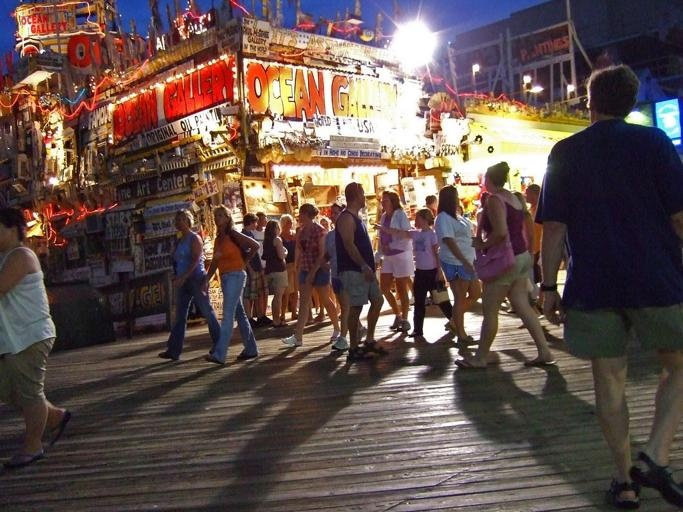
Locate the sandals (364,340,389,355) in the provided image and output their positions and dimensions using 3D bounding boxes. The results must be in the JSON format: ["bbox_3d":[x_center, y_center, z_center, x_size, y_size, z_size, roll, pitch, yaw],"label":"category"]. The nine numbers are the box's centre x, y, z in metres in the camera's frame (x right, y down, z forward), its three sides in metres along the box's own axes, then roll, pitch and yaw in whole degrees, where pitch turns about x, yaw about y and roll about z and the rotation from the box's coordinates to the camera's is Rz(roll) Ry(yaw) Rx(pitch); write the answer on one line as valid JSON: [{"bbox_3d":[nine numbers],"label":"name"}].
[{"bbox_3d":[0.437,1.213,7.529,0.378,0.193,0.139,2,3,-8],"label":"sandals"}]

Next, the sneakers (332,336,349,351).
[{"bbox_3d":[0.001,1.276,8.223,0.115,0.147,0.294,-1,-10,14],"label":"sneakers"}]

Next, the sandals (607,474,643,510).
[{"bbox_3d":[1.672,1.394,3.371,0.097,0.121,0.245,-4,-3,15],"label":"sandals"}]

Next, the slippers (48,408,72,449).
[{"bbox_3d":[-2.512,1.543,5.033,0.092,0.397,0.152,16,17,-13],"label":"slippers"}]

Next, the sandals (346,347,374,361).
[{"bbox_3d":[0.253,1.249,7.379,0.282,0.144,0.157,-3,1,-4],"label":"sandals"}]

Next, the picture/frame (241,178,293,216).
[{"bbox_3d":[-1.822,-1.434,14.364,1.246,1.043,0.141,-4,21,-20],"label":"picture/frame"}]

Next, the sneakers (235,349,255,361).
[{"bbox_3d":[-1.363,1.422,8.141,0.255,0.128,0.121,3,-4,6],"label":"sneakers"}]

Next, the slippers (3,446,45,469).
[{"bbox_3d":[-2.593,1.630,4.630,0.275,0.088,0.134,3,-3,-41],"label":"slippers"}]

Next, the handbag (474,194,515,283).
[{"bbox_3d":[1.659,-0.203,6.183,0.398,0.802,0.505,-3,1,17],"label":"handbag"}]
